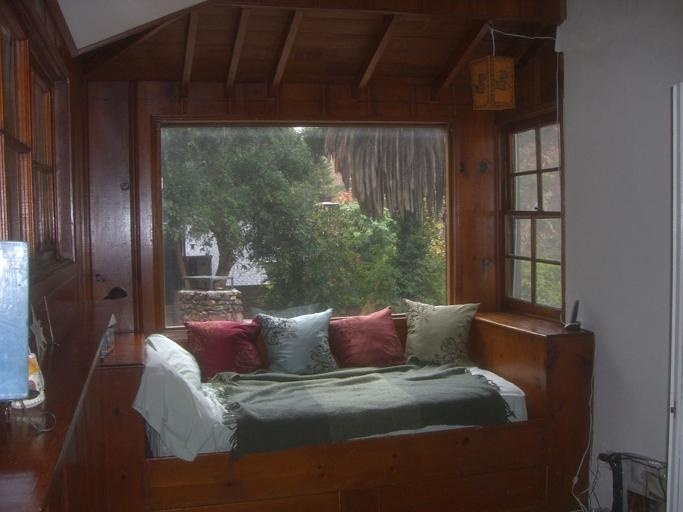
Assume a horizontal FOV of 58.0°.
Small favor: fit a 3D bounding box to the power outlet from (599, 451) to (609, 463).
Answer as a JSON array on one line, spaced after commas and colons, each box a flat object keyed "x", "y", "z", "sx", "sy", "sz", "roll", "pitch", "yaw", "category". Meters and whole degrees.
[{"x": 1.491, "y": 1.162, "z": 3.512, "sx": 0.051, "sy": 0.062, "sz": 0.097, "roll": 1, "pitch": 2, "yaw": 10, "category": "power outlet"}]

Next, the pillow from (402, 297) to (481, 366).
[{"x": 0.685, "y": 0.540, "z": 4.276, "sx": 0.369, "sy": 0.406, "sz": 0.151, "roll": 0, "pitch": -24, "yaw": 6, "category": "pillow"}]

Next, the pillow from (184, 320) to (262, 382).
[{"x": -0.771, "y": 0.629, "z": 4.090, "sx": 0.373, "sy": 0.416, "sz": 0.200, "roll": -6, "pitch": -26, "yaw": -15, "category": "pillow"}]

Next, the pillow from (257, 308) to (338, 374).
[{"x": -0.303, "y": 0.585, "z": 4.109, "sx": 0.316, "sy": 0.344, "sz": 0.130, "roll": -3, "pitch": -31, "yaw": -15, "category": "pillow"}]

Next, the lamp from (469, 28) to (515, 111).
[{"x": 0.982, "y": -1.160, "z": 4.032, "sx": 0.271, "sy": 0.322, "sz": 0.141, "roll": 1, "pitch": 1, "yaw": 9, "category": "lamp"}]

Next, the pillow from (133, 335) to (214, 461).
[{"x": -0.953, "y": 0.803, "z": 3.478, "sx": 0.430, "sy": 0.561, "sz": 0.528, "roll": 0, "pitch": 2, "yaw": -19, "category": "pillow"}]
